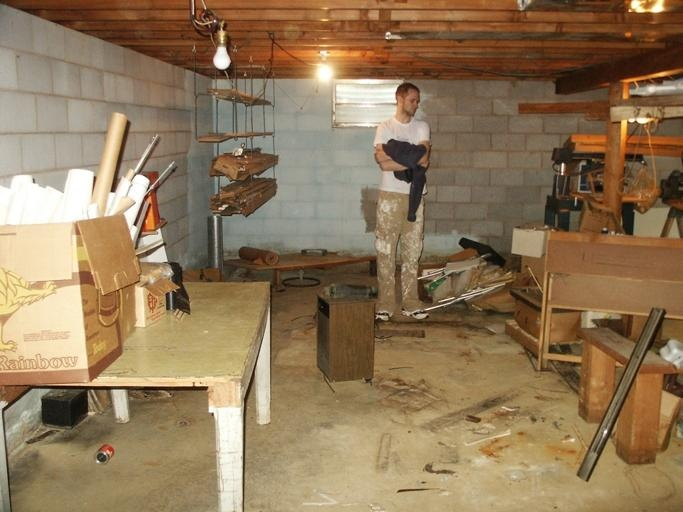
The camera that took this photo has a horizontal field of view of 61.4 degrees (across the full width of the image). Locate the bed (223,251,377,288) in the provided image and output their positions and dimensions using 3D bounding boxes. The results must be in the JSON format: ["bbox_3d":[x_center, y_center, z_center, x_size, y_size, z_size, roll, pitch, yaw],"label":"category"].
[{"bbox_3d":[-0.560,0.198,8.114,1.884,0.376,0.749,-5,14,-29],"label":"bed"}]

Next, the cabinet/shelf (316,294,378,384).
[{"bbox_3d":[0.050,0.705,5.165,0.628,0.565,0.737,0,0,-10],"label":"cabinet/shelf"}]

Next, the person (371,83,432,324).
[{"bbox_3d":[0.653,-0.542,6.164,0.703,2.523,0.515,0,17,-10],"label":"person"}]

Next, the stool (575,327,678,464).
[{"bbox_3d":[1.988,1.003,4.013,0.403,0.679,0.916,1,16,-9],"label":"stool"}]

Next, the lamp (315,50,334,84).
[{"bbox_3d":[-0.227,-2.514,7.578,0.297,0.180,0.467,-8,-20,-5],"label":"lamp"}]
